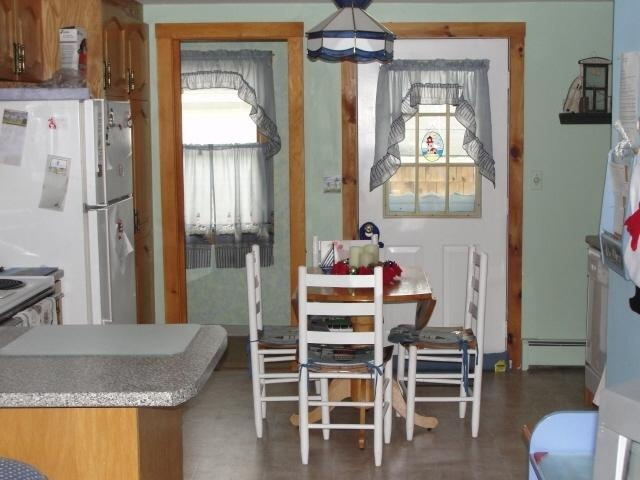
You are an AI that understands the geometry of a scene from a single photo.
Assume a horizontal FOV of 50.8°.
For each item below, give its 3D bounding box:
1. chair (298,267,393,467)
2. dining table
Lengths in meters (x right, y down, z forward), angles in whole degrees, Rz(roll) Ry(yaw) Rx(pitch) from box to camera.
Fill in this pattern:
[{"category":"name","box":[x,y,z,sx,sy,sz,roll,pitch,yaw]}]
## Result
[{"category":"chair","box":[0.148,0.650,3.837,0.532,1.149,0.628,1,10,6]},{"category":"dining table","box":[0.290,0.623,4.259,0.817,0.937,0.885,1,5,9]}]
